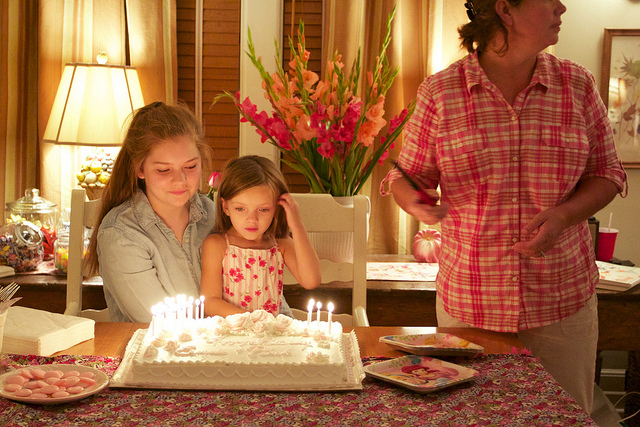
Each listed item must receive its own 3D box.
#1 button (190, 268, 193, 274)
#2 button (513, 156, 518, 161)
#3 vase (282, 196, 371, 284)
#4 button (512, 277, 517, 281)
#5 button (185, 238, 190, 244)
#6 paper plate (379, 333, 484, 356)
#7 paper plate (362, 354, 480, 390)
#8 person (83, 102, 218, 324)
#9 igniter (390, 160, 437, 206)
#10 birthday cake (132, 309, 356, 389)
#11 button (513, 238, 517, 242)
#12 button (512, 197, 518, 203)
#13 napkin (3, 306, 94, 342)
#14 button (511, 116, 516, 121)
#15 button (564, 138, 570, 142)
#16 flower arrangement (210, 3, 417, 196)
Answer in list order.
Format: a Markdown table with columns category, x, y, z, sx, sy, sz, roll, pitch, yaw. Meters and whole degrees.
| category | x | y | z | sx | sy | sz | roll | pitch | yaw |
| --- | --- | --- | --- | --- | --- | --- | --- | --- | --- |
| button | -0.475 | 0.211 | 1.938 | 0.014 | 0.018 | 0.006 | -7 | -4 | -34 |
| button | 0.618 | -0.176 | 1.669 | 0.014 | 0.014 | 0.002 | -1 | 8 | -7 |
| vase | 0.118 | 0.098 | 2.401 | 0.341 | 0.232 | 0.284 | -4 | 20 | 29 |
| button | 0.620 | 0.208 | 1.679 | 0.013 | 0.010 | 0.002 | 1 | 8 | 12 |
| button | -0.494 | 0.100 | 1.954 | 0.023 | 0.018 | 0.005 | 3 | -7 | -21 |
| paper plate | 0.323 | 0.384 | 1.536 | 0.231 | 0.022 | 0.162 | 0 | 5 | -24 |
| paper plate | 0.269 | 0.423 | 1.409 | 0.276 | 0.035 | 0.160 | -3 | 7 | -25 |
| person | -0.610 | -0.009 | 1.989 | 0.432 | 0.811 | 0.421 | -7 | 10 | -40 |
| igniter | 0.296 | -0.097 | 1.688 | 0.098 | 0.131 | 0.175 | -3 | 7 | -23 |
| birthday cake | -0.205 | 0.372 | 1.476 | 0.588 | 0.130 | 0.292 | 0 | 6 | -2 |
| button | 0.618 | 0.082 | 1.675 | 0.011 | 0.009 | 0.002 | 4 | -11 | 4 |
| button | 0.617 | -0.045 | 1.676 | 0.017 | 0.015 | 0.004 | 1 | -2 | 4 |
| napkin | -0.838 | 0.320 | 1.545 | 0.264 | 0.054 | 0.152 | 1 | 6 | 15 |
| button | 0.609 | -0.302 | 1.662 | 0.013 | 0.014 | 0.002 | 2 | 8 | 18 |
| button | 0.778 | -0.234 | 1.661 | 0.011 | 0.008 | 0.011 | 1 | 7 | 26 |
| flower arrangement | 0.029 | -0.390 | 2.702 | 0.933 | 0.853 | 0.944 | -2 | 0 | 39 |
